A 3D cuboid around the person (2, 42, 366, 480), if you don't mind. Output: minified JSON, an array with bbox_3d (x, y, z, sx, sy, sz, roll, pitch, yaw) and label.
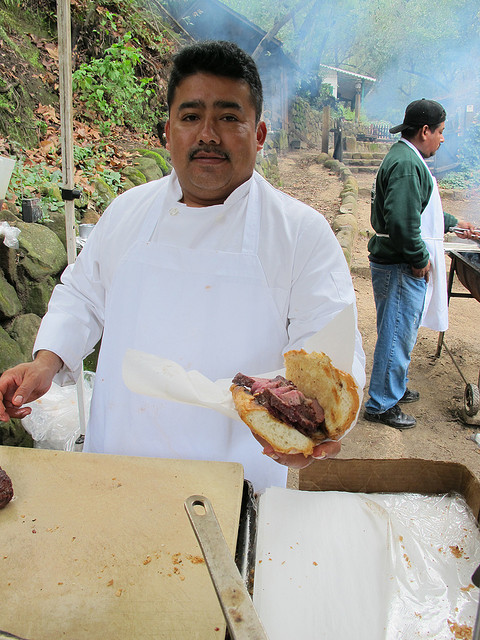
[{"bbox_3d":[-0.150,-0.154,1.598,0.985,1.340,0.607,6,14,5],"label":"person"}]

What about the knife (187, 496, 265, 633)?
[{"bbox_3d":[-0.030,0.345,0.743,0.043,0.036,0.240,-1,14,-20],"label":"knife"}]

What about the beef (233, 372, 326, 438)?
[{"bbox_3d":[0.089,0.190,1.255,0.166,0.056,0.128,37,7,40],"label":"beef"}]
